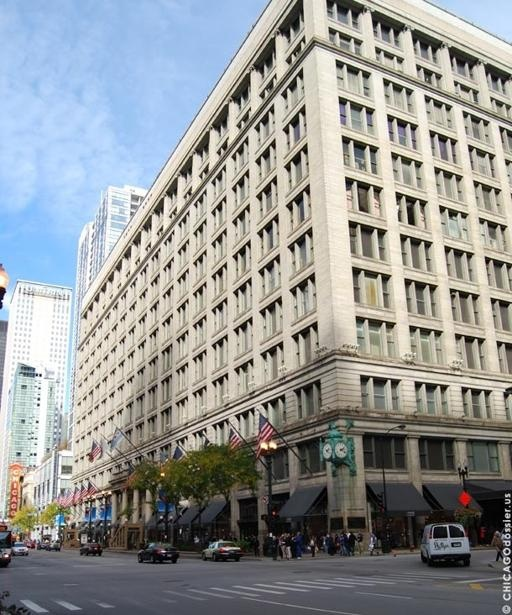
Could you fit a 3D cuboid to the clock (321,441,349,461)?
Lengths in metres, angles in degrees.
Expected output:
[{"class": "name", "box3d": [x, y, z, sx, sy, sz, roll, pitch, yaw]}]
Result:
[{"class": "clock", "box3d": [5.308, 9.609, 42.440, 1.349, 1.249, 1.774, 9, -21, -22]}]
